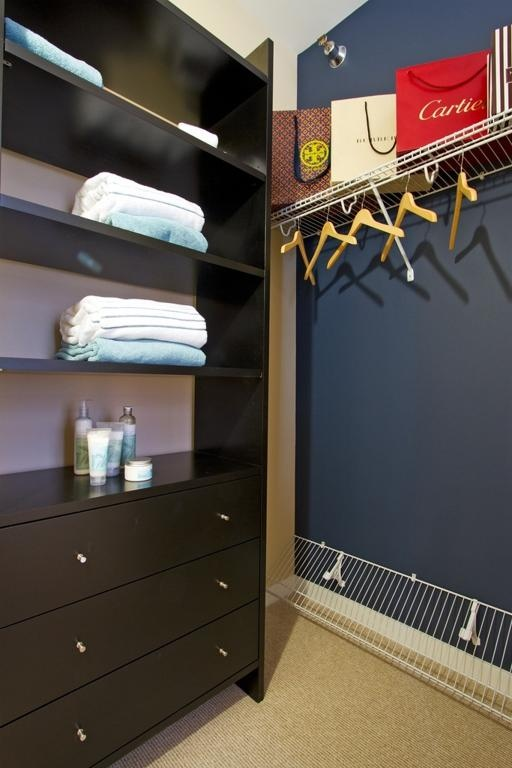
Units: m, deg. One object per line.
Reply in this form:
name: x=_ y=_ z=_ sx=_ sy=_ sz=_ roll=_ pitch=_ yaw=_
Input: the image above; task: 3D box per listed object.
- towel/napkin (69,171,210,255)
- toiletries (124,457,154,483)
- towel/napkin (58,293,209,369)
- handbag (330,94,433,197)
towel/napkin: x=-0.286 y=-0.429 z=1.461 sx=0.342 sy=0.171 sz=0.193 roll=-3 pitch=6 yaw=-17
toiletries: x=-0.301 y=0.215 z=1.460 sx=0.056 sy=0.041 sz=0.057 roll=3 pitch=3 yaw=14
towel/napkin: x=-0.290 y=-0.129 z=1.466 sx=0.395 sy=0.182 sz=0.276 roll=-4 pitch=7 yaw=-27
handbag: x=0.412 y=-0.770 z=1.843 sx=0.385 sy=0.375 sz=0.150 roll=1 pitch=3 yaw=33
